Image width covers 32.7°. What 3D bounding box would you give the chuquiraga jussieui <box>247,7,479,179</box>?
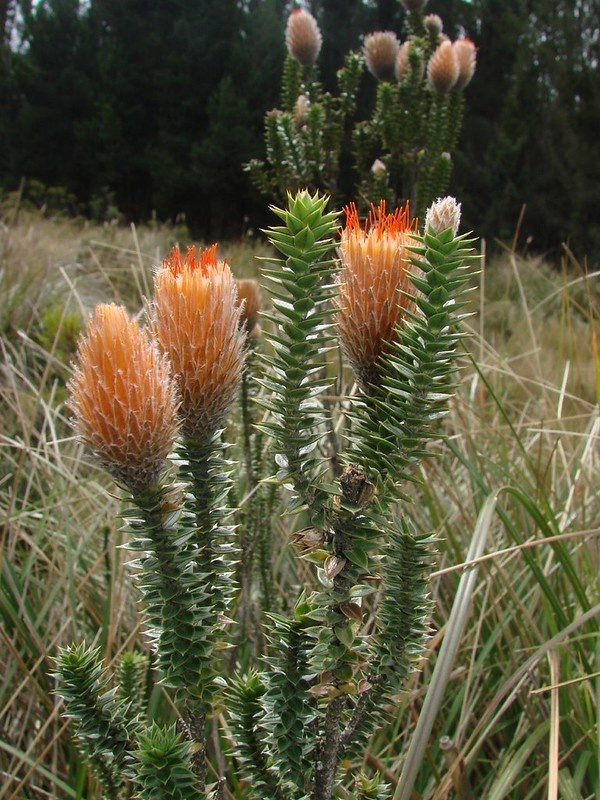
[{"bbox_3d":[0.161,-0.915,3.135,0.703,0.592,0.547,7,21,10],"label":"chuquiraga jussieui"}]

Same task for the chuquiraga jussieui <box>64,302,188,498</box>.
[{"bbox_3d":[-0.312,-0.003,1.850,0.194,0.331,0.153,-1,22,-12],"label":"chuquiraga jussieui"}]
